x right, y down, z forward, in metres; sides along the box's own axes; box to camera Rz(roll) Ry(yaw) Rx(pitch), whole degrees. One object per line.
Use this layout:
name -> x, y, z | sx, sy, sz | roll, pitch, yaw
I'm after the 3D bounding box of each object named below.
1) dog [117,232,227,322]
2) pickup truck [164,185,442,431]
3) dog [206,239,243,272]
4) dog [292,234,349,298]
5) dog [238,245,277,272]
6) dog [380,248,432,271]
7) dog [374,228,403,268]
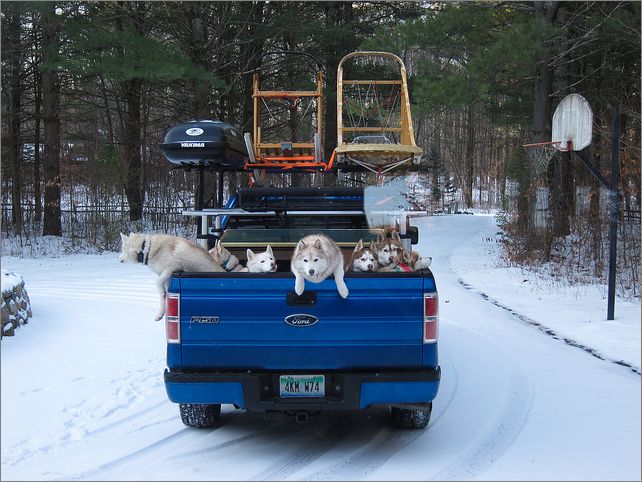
dog -> -2.444, 0.560, 11.707 | 1.974, 1.316, 0.588 | -2, -14, -40
pickup truck -> -0.254, 1.064, 12.247 | 4.139, 4.006, 3.556 | -2, 4, 2
dog -> -1.659, 0.280, 12.293 | 0.519, 0.381, 0.178 | 29, -31, -12
dog -> -0.022, 0.314, 11.094 | 0.827, 0.932, 1.483 | -6, 19, 4
dog -> -0.992, 0.351, 11.721 | 0.271, 0.426, 0.589 | 0, -12, -21
dog -> 1.486, 0.384, 11.793 | 0.915, 0.523, 0.394 | -3, 5, -27
dog -> 1.149, 0.162, 12.117 | 0.433, 0.800, 0.734 | -7, 6, 2
